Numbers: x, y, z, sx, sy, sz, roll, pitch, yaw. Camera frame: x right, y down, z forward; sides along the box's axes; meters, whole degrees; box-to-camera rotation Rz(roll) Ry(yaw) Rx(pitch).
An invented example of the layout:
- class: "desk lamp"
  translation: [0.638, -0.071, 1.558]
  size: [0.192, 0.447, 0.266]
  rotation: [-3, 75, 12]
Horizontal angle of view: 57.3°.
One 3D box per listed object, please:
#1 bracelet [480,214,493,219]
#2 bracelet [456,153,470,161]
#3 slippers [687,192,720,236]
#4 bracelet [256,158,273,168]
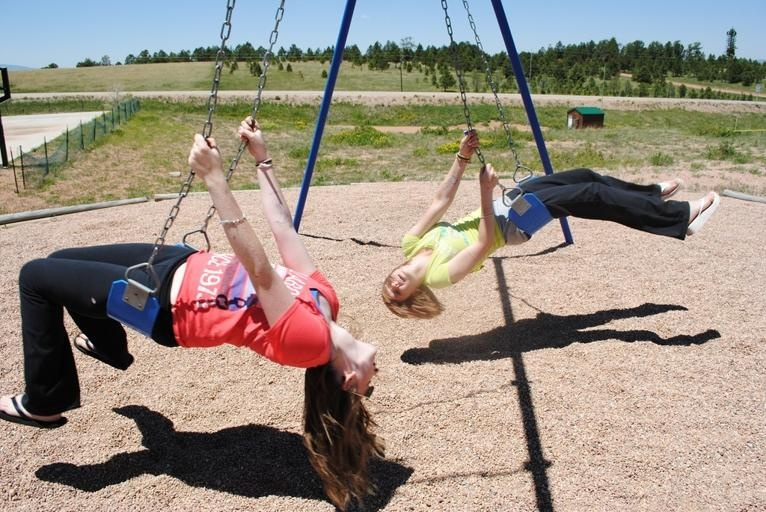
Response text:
- class: "bracelet"
  translation: [0.971, -0.366, 6.476]
  size: [0.116, 0.059, 0.053]
  rotation: [3, 18, 4]
- class: "bracelet"
  translation: [0.809, -0.979, 6.991]
  size: [0.111, 0.041, 0.076]
  rotation: [24, -2, -25]
- class: "slippers"
  translation: [3.080, -0.412, 6.712]
  size: [0.180, 0.363, 0.419]
  rotation: [13, 21, 30]
- class: "bracelet"
  translation: [-0.922, -0.723, 5.455]
  size: [0.102, 0.046, 0.088]
  rotation: [-4, 5, 15]
